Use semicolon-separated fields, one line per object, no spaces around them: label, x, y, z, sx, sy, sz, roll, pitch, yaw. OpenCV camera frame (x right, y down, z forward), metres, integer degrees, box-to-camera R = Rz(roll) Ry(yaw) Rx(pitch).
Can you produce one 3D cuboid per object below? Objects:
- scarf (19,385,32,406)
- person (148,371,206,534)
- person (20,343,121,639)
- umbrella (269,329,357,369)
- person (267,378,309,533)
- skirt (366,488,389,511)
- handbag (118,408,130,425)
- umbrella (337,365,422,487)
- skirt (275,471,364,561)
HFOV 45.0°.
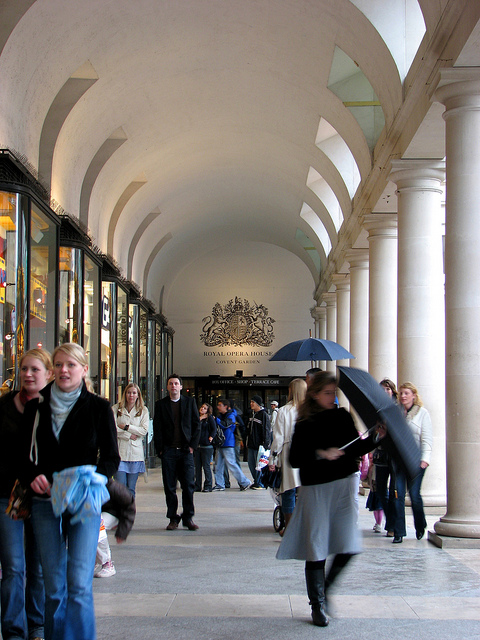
scarf;-1.188;0.421;3.228;0.067;0.104;0.067;2;13;-2
person;-0.882;1.824;7.977;0.655;2.122;0.499;1;-6;-4
person;-0.757;0.728;2.632;0.510;1.258;0.376;-5;-8;43
umbrella;1.126;0.505;8.977;1.233;0.484;0.880;-2;-7;19
person;0.614;1.621;6.662;0.511;1.773;0.376;-1;-10;34
skirt;1.839;2.404;7.712;0.201;0.354;0.629;0;-7;4
handbag;-1.596;1.327;7.955;0.167;0.236;0.131;6;-44;-10
umbrella;0.928;0.706;4.090;0.541;0.805;0.930;-15;10;7
skirt;0.500;1.256;3.660;0.519;0.519;0.220;0;-6;3
